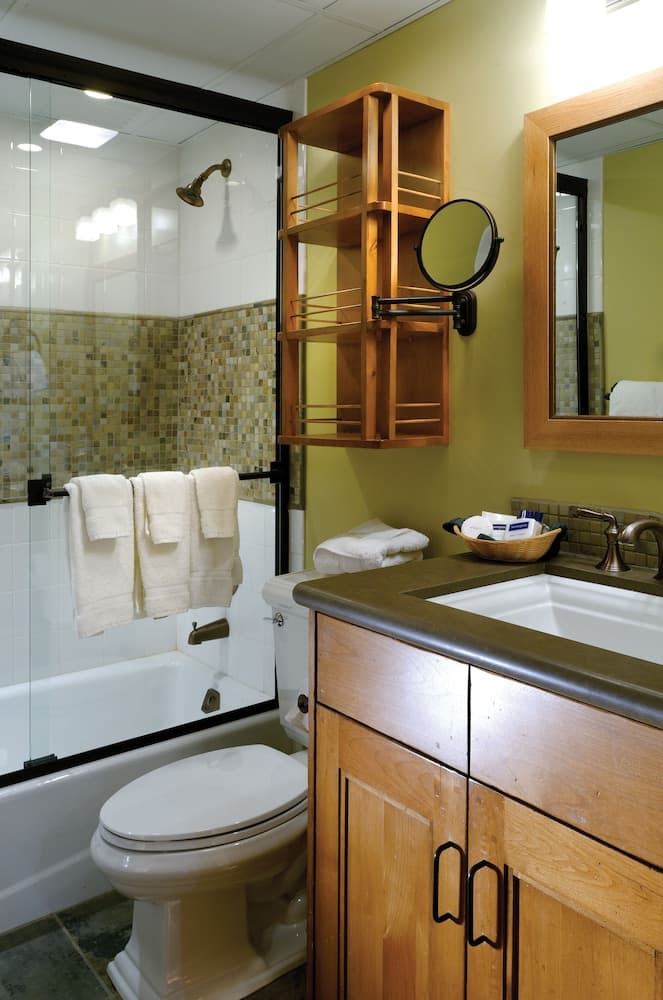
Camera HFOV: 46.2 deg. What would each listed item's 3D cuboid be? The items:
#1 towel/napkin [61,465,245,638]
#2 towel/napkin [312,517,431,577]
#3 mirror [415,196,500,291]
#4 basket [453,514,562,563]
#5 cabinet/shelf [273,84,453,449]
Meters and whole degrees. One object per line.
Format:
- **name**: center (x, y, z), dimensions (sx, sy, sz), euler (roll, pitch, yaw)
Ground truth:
- **towel/napkin**: center (-0.456, 0.123, 1.911), dimensions (0.378, 0.357, 0.101), euler (-5, 5, -44)
- **towel/napkin**: center (0.069, 0.111, 1.721), dimensions (0.150, 0.062, 0.146), euler (-9, 1, -44)
- **mirror**: center (0.257, -0.508, 1.541), dimensions (0.031, 0.216, 0.194), euler (0, 9, -38)
- **basket**: center (0.307, 0.083, 1.443), dimensions (0.225, 0.055, 0.132), euler (0, 7, 40)
- **cabinet/shelf**: center (0.013, -0.555, 1.901), dimensions (0.283, 0.857, 0.650), euler (-5, 4, -30)
